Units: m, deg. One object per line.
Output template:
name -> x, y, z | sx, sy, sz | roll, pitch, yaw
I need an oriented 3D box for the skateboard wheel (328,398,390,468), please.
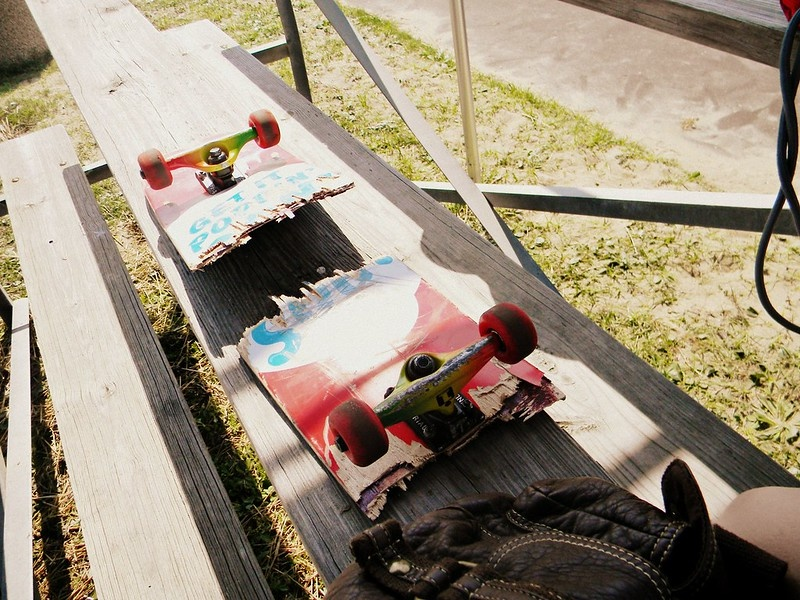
skateboard wheel -> -0.094, 0.314, 1.482 | 0.083, 0.131, 0.131 | -27, 22, -19

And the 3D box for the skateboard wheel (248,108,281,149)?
skateboard wheel -> -0.489, -0.624, 2.287 | 0.085, 0.151, 0.145 | -15, 82, -20

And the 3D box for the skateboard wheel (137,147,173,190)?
skateboard wheel -> -0.845, -0.446, 2.190 | 0.099, 0.146, 0.103 | 1, 54, -2

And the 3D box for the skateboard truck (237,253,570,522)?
skateboard truck -> -0.043, 0.185, 1.706 | 0.821, 0.087, 0.729 | 22, 55, 26

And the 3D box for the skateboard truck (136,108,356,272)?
skateboard truck -> -0.548, -0.396, 2.094 | 0.555, 0.182, 0.637 | -34, 51, -13
